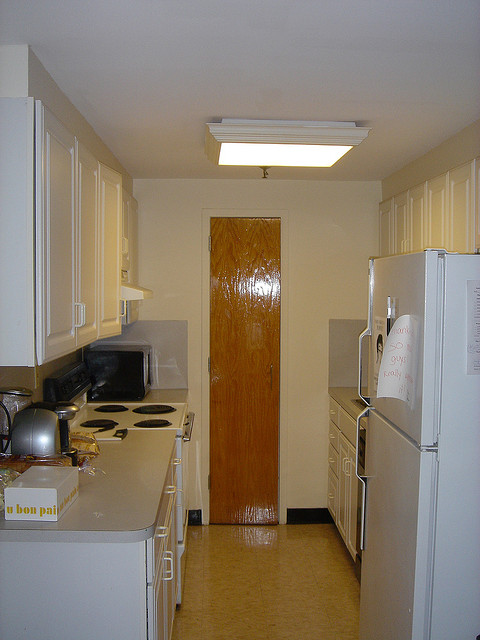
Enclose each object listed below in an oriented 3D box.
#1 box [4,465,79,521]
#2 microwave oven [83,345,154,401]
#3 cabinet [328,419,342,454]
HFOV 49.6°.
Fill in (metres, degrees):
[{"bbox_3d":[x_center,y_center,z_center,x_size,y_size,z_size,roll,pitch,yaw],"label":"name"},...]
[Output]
[{"bbox_3d":[-0.588,0.490,1.530,0.098,0.076,0.161,1,5,-1],"label":"box"},{"bbox_3d":[-0.803,0.331,3.542,0.359,0.359,0.551,4,2,-7],"label":"microwave oven"},{"bbox_3d":[0.618,0.781,3.506,0.102,0.119,0.165,0,2,3],"label":"cabinet"}]
